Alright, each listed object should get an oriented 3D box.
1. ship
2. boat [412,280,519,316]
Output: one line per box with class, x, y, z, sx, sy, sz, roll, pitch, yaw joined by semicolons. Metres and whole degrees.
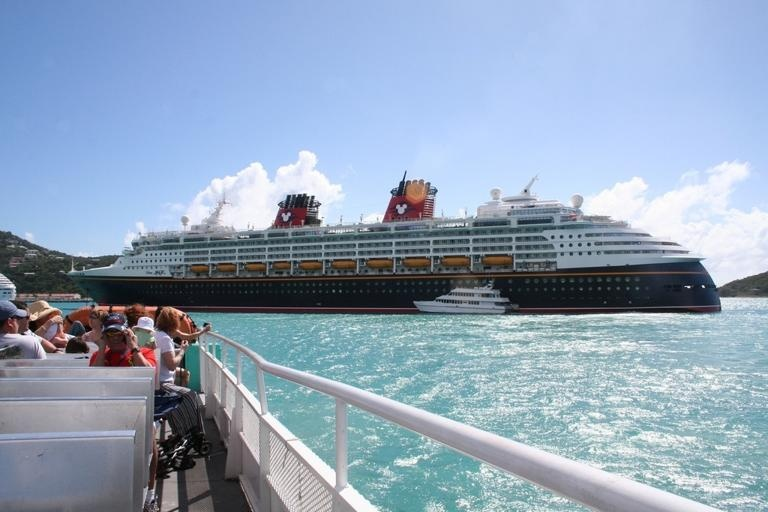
ship;-1.414;-0.015;53.284;61.865;11.656;9.547;-1;-12;11
boat;5.724;3.916;45.844;10.689;3.315;2.593;1;-7;11
